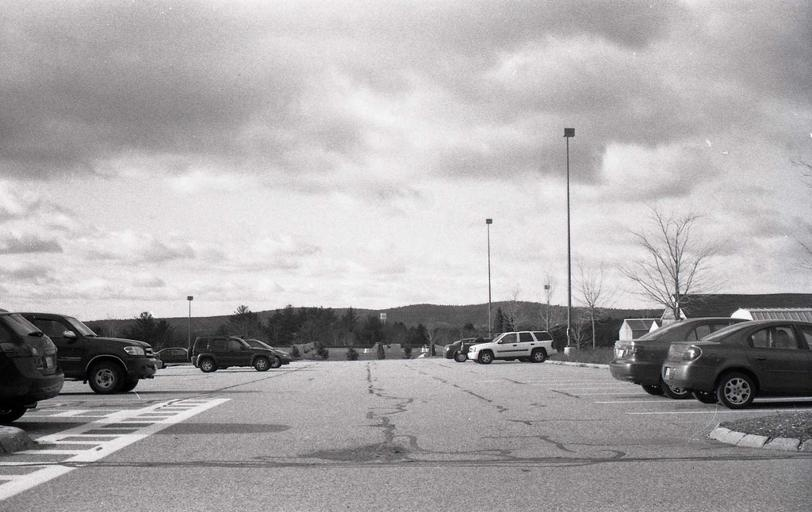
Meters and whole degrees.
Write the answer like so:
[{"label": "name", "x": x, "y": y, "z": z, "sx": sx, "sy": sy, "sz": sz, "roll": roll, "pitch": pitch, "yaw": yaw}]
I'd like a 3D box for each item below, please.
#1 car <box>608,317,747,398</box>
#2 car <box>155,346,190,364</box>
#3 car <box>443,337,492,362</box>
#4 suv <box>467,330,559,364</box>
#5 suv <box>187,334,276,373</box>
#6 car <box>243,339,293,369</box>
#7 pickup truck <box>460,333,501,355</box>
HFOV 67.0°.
[{"label": "car", "x": 7.757, "y": 2.713, "z": 17.492, "sx": 4.133, "sy": 1.458, "sz": 1.752, "roll": -2, "pitch": -2, "yaw": -10}, {"label": "car", "x": -22.387, "y": 9.664, "z": 59.474, "sx": 2.735, "sy": 1.539, "sz": 3.741, "roll": 2, "pitch": -10, "yaw": -19}, {"label": "car", "x": 5.867, "y": 7.693, "z": 50.906, "sx": 4.215, "sy": 1.414, "sz": 1.924, "roll": 2, "pitch": -8, "yaw": -9}, {"label": "suv", "x": 7.424, "y": 6.485, "z": 43.161, "sx": 5.214, "sy": 2.106, "sz": 2.452, "roll": 2, "pitch": -9, "yaw": -3}, {"label": "suv", "x": -10.361, "y": 5.840, "z": 36.926, "sx": 4.110, "sy": 1.828, "sz": 2.148, "roll": -2, "pitch": -5, "yaw": -1}, {"label": "car", "x": -9.944, "y": 6.464, "z": 40.293, "sx": 4.393, "sy": 1.595, "sz": 2.034, "roll": -1, "pitch": -4, "yaw": 3}, {"label": "pickup truck", "x": 6.384, "y": 7.261, "z": 52.209, "sx": 3.934, "sy": 1.424, "sz": 1.824, "roll": 1, "pitch": -8, "yaw": -7}]
